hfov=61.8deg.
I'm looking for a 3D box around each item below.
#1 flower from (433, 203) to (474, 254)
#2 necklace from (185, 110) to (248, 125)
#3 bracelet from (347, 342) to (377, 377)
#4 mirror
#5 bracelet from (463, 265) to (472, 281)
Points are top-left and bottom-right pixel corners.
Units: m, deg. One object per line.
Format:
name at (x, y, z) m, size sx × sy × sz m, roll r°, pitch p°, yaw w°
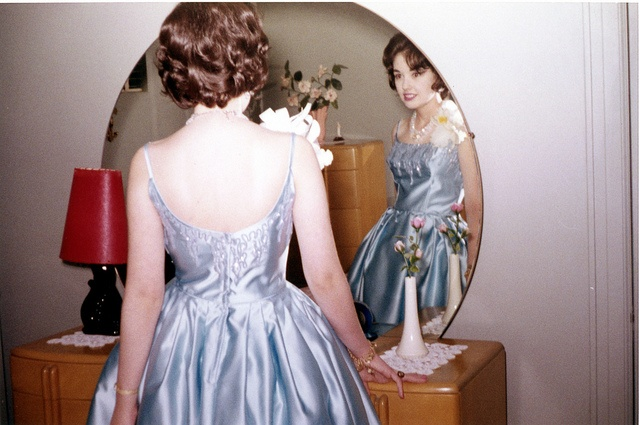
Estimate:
flower at (0.537, 0.066, 2.106) m, size 0.152 × 0.203 × 0.119 m, roll -2°, pitch 10°, yaw 16°
necklace at (-0.316, -0.291, 1.652) m, size 0.185 × 0.044 × 0.102 m, roll 0°, pitch 6°, yaw -9°
bracelet at (0.126, 0.522, 1.876) m, size 0.111 × 0.051 × 0.152 m, roll 12°, pitch -10°, yaw 19°
mirror at (-0.140, 0.038, 2.724) m, size 1.396 × 2.122 × 1.084 m, roll -5°, pitch 4°, yaw 6°
bracelet at (0.586, 0.240, 2.116) m, size 0.015 × 0.052 × 0.034 m, roll 16°, pitch -2°, yaw -23°
